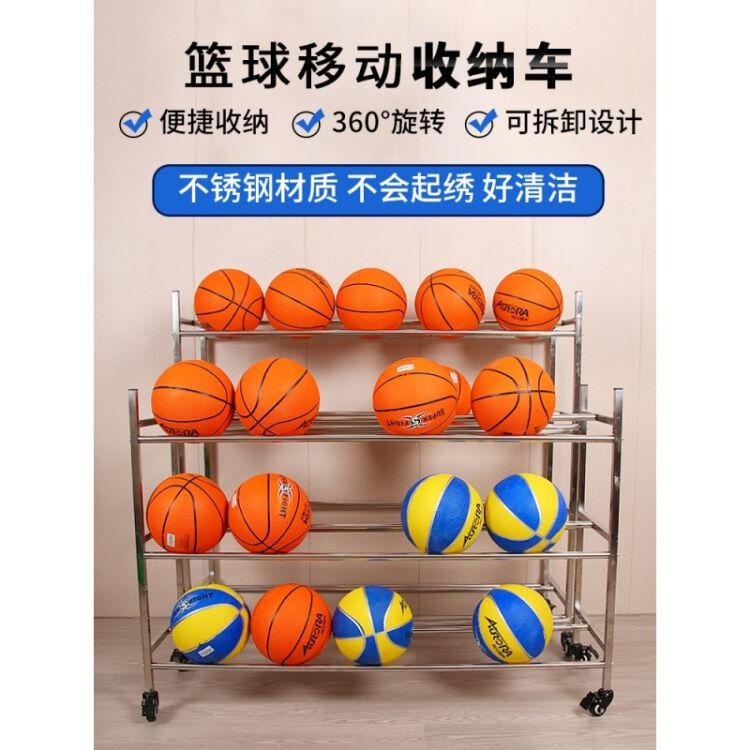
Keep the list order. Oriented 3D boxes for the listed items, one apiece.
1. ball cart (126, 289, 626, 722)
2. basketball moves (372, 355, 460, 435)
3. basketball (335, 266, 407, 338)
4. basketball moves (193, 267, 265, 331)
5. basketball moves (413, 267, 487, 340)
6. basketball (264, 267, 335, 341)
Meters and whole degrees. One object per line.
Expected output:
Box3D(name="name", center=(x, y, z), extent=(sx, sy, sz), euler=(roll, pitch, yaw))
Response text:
Box3D(name="ball cart", center=(-0.022, 0.355, 2.191), extent=(1.192, 1.072, 0.470), euler=(0, 3, 2))
Box3D(name="basketball moves", center=(0.096, 0.054, 1.974), extent=(0.212, 0.203, 0.197), euler=(3, 18, 2))
Box3D(name="basketball", center=(-0.010, -0.205, 2.211), extent=(0.181, 0.173, 0.179), euler=(23, 11, 30))
Box3D(name="basketball moves", center=(-0.425, -0.214, 2.248), extent=(0.184, 0.181, 0.180), euler=(3, 30, -12))
Box3D(name="basketball moves", center=(0.213, -0.217, 2.199), extent=(0.178, 0.200, 0.177), euler=(12, 32, 24))
Box3D(name="basketball", center=(-0.212, -0.200, 2.146), extent=(0.167, 0.183, 0.165), euler=(-1, 17, -3))
